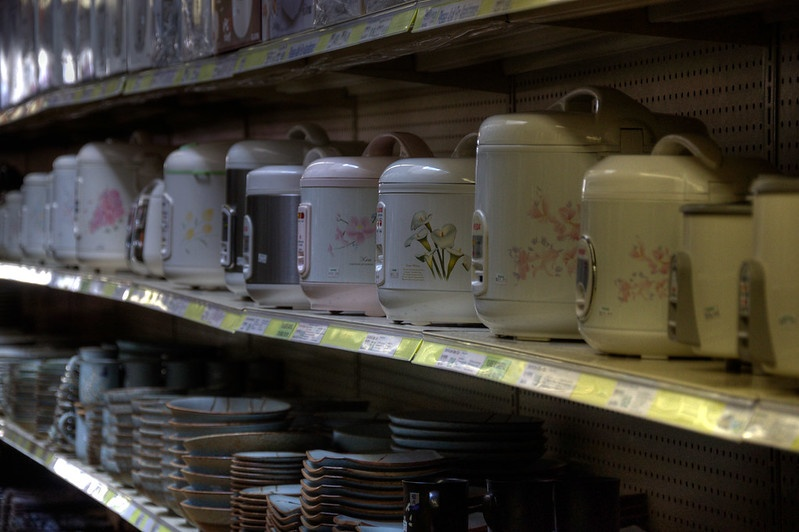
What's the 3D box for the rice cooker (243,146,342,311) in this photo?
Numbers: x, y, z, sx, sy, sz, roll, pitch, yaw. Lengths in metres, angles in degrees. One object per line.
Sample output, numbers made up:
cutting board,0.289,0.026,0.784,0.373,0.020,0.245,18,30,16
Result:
rice cooker,-0.276,-0.119,2.346,0.349,0.577,0.372,0,0,-9
